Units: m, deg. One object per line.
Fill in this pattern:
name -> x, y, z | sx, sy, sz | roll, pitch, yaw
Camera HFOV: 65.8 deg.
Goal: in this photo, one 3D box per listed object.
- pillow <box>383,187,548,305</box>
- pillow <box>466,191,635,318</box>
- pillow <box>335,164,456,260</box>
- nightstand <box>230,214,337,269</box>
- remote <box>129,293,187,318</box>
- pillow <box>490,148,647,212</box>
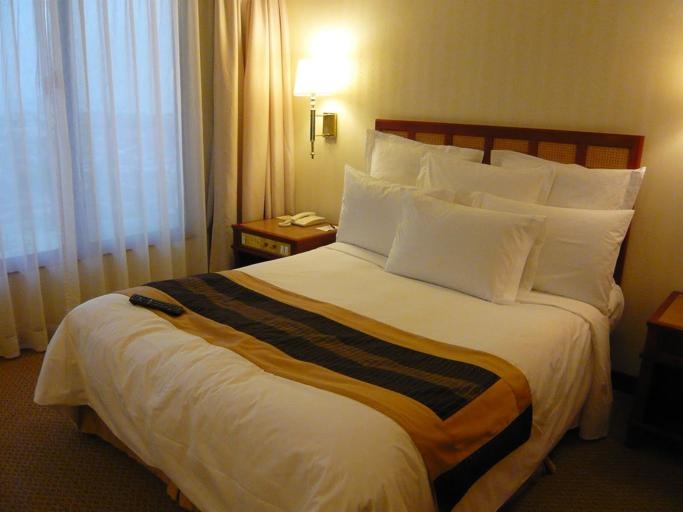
pillow -> 0.693, -0.050, 3.087 | 0.926, 0.579, 0.261 | 19, -5, 41
pillow -> 1.189, -0.012, 3.052 | 0.658, 0.463, 0.234 | 10, -25, 38
pillow -> 0.376, -0.276, 3.492 | 0.150, 0.395, 0.588 | 14, 2, -41
nightstand -> -0.504, -0.145, 4.444 | 0.444, 0.600, 0.598 | -15, 22, -36
remote -> -0.995, 0.262, 2.842 | 0.381, 0.070, 0.120 | 16, 23, 24
pillow -> 1.508, -0.431, 3.227 | 0.888, 0.368, 0.134 | 14, -12, 29
